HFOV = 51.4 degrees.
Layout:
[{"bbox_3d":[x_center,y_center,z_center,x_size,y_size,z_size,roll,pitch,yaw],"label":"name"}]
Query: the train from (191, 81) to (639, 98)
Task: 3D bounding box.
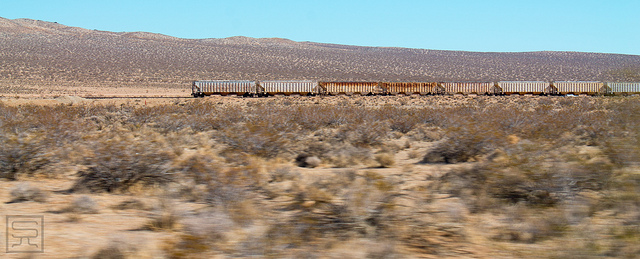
[{"bbox_3d":[20.532,-8.960,148.620,94.903,3.788,1.994,1,-1,-2],"label":"train"}]
